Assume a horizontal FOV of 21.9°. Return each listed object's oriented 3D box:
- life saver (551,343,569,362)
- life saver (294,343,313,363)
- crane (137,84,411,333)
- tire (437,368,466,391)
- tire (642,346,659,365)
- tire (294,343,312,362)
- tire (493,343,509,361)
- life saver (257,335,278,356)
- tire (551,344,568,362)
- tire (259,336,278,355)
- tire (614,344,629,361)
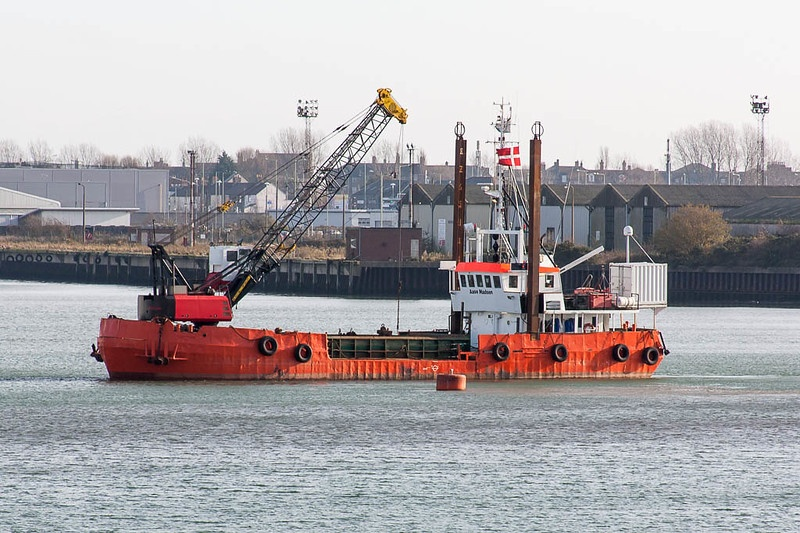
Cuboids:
[{"bbox_3d":[6.814,3.681,88.507,0.611,0.603,0.211,-26,13,-30],"label":"life saver"},{"bbox_3d":[-4.115,3.657,87.598,0.636,0.627,0.249,-28,15,-25],"label":"life saver"},{"bbox_3d":[-4.641,-2.742,92.355,15.165,9.737,2.319,-16,-8,7],"label":"crane"},{"bbox_3d":[2.195,4.873,88.892,0.919,0.665,0.909,0,-3,3],"label":"tire"},{"bbox_3d":[10.814,3.828,89.576,0.782,0.763,0.300,-3,2,-31],"label":"tire"},{"bbox_3d":[-4.111,3.675,87.646,0.710,0.829,0.273,1,-2,-26],"label":"tire"},{"bbox_3d":[4.318,3.646,88.551,0.719,0.706,0.705,-11,3,4],"label":"tire"},{"bbox_3d":[-5.605,3.318,87.269,0.613,0.613,0.243,-44,14,-8],"label":"life saver"},{"bbox_3d":[6.783,3.706,88.500,0.599,0.591,0.207,-27,14,-31],"label":"tire"},{"bbox_3d":[-5.573,3.336,87.267,0.596,0.588,0.232,-28,10,-15],"label":"tire"},{"bbox_3d":[9.498,3.720,89.048,0.682,0.665,0.258,-6,-1,-21],"label":"tire"}]
